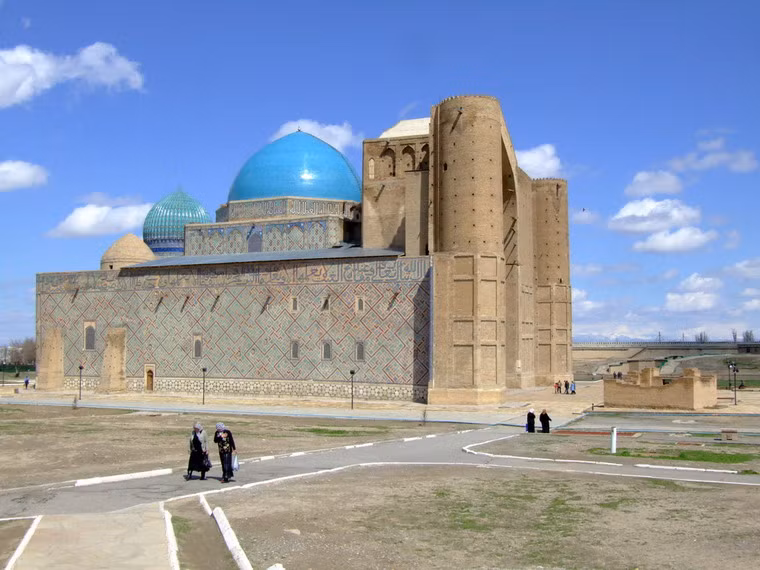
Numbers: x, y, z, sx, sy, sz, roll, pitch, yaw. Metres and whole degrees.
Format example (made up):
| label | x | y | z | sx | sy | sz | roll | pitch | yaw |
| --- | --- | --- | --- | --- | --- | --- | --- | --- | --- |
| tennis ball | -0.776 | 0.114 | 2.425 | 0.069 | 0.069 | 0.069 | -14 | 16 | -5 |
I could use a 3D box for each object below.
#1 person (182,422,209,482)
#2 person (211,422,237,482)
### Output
| label | x | y | z | sx | sy | sz | roll | pitch | yaw |
| --- | --- | --- | --- | --- | --- | --- | --- | --- | --- |
| person | -4.502 | 4.069 | 21.555 | 0.601 | 1.391 | 1.814 | 1 | -7 | -12 |
| person | -3.728 | 4.030 | 20.988 | 0.462 | 1.372 | 0.804 | 1 | -7 | -10 |
